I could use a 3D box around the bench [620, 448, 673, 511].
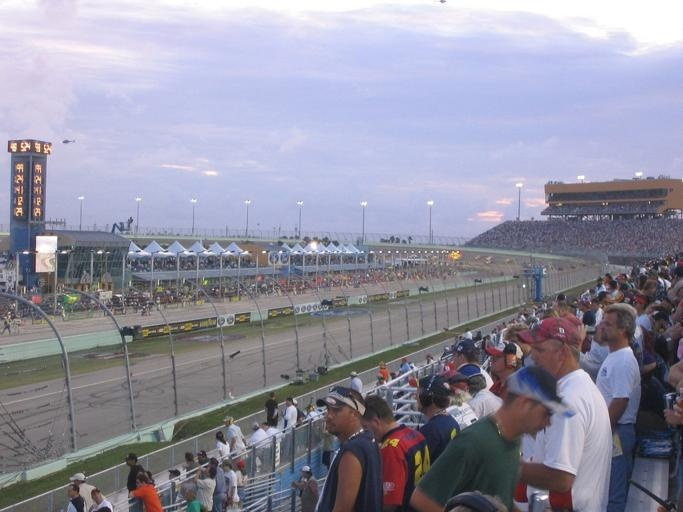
[{"bbox_3d":[3.738,2.743,9.647,0.427,0.204,0.986,2,43,18],"label":"bench"}]

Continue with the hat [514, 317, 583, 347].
[{"bbox_3d":[2.445,0.894,9.334,0.631,0.293,0.412,3,-7,6],"label":"hat"}]

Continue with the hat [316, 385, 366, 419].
[{"bbox_3d":[0.006,1.758,9.637,0.524,0.354,0.535,-2,1,-4],"label":"hat"}]

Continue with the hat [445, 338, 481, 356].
[{"bbox_3d":[1.744,1.293,11.410,0.293,0.163,0.459,0,-1,0],"label":"hat"}]
